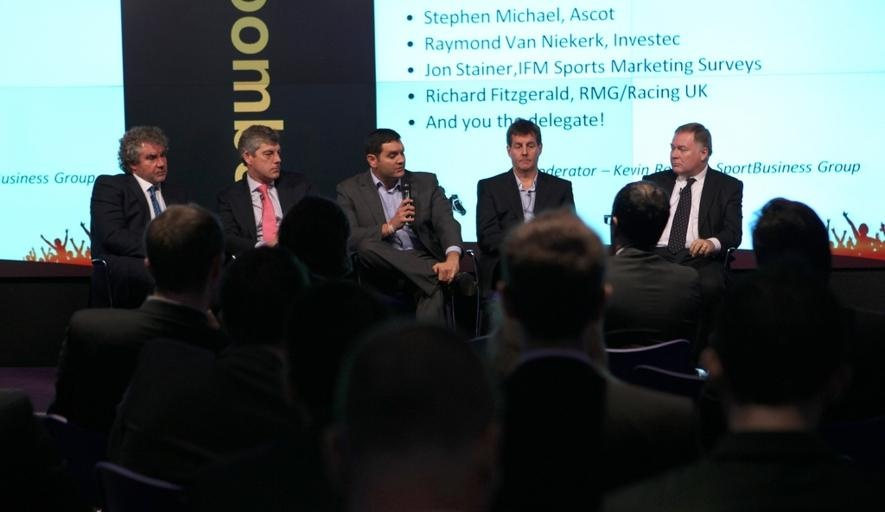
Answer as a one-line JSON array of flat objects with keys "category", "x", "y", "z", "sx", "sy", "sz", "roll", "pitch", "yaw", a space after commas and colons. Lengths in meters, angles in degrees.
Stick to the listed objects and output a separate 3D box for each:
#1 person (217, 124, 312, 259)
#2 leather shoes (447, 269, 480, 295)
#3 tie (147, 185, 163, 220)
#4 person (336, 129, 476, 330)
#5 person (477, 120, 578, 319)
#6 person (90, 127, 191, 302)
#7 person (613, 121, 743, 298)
[{"category": "person", "x": -1.461, "y": -0.527, "z": 5.624, "sx": 0.513, "sy": 0.990, "sz": 0.672, "roll": 7, "pitch": 8, "yaw": 32}, {"category": "leather shoes", "x": 0.148, "y": 0.212, "z": 5.219, "sx": 0.188, "sy": 0.190, "sz": 0.224, "roll": 4, "pitch": 7, "yaw": 13}, {"category": "tie", "x": -2.201, "y": -0.399, "z": 5.383, "sx": 0.076, "sy": 0.363, "sz": 0.063, "roll": -12, "pitch": -18, "yaw": -5}, {"category": "person", "x": -0.322, "y": -0.235, "z": 5.369, "sx": 0.945, "sy": 1.427, "sz": 0.839, "roll": 1, "pitch": 7, "yaw": -10}, {"category": "person", "x": 0.567, "y": -0.426, "z": 5.728, "sx": 0.739, "sy": 1.383, "sz": 1.038, "roll": 8, "pitch": 9, "yaw": 39}, {"category": "person", "x": -2.467, "y": -0.316, "z": 5.518, "sx": 0.576, "sy": 1.367, "sz": 0.610, "roll": 1, "pitch": 7, "yaw": -14}, {"category": "person", "x": 1.981, "y": -0.195, "z": 5.832, "sx": 1.061, "sy": 1.619, "sz": 0.961, "roll": -18, "pitch": 21, "yaw": -38}]
